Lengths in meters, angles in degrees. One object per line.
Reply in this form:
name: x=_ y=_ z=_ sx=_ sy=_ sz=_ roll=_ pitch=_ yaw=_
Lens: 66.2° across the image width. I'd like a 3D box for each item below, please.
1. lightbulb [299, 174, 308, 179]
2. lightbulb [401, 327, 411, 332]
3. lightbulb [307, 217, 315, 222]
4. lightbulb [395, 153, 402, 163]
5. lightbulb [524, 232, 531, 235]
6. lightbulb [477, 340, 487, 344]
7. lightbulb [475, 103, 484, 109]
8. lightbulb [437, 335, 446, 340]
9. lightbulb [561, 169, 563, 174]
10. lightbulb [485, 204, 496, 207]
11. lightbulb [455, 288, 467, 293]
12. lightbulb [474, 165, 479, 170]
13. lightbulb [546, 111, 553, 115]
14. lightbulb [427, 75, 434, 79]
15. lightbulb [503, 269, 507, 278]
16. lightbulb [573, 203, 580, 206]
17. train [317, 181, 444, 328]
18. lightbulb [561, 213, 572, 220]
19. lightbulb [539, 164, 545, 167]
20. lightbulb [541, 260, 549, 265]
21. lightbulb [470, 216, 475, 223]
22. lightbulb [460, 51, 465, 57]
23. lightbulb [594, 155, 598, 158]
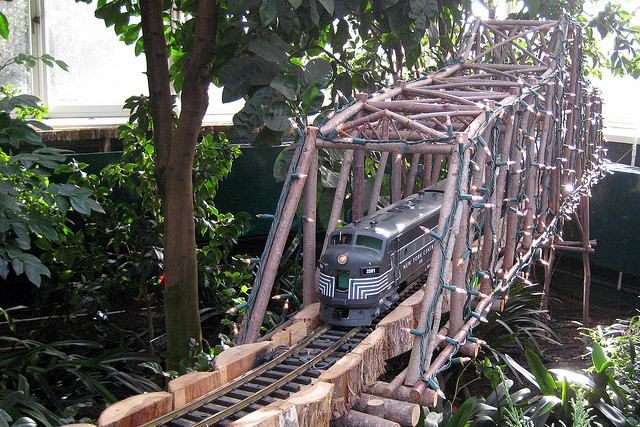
lightbulb: x=-0.179 y=-0.402 z=5.427 sx=0.054 sy=0.053 sz=0.132 roll=7 pitch=5 yaw=24
lightbulb: x=0.897 y=1.213 z=5.098 sx=0.073 sy=0.033 sz=0.095 roll=0 pitch=2 yaw=-3
lightbulb: x=-0.107 y=0.075 z=5.604 sx=0.074 sy=0.023 sz=0.023 roll=15 pitch=-4 yaw=-26
lightbulb: x=0.896 y=-0.638 z=5.619 sx=0.033 sy=0.035 sz=0.191 roll=1 pitch=27 yaw=23
lightbulb: x=2.670 y=0.261 z=6.341 sx=0.167 sy=0.030 sz=0.035 roll=1 pitch=6 yaw=-45
lightbulb: x=1.747 y=1.408 z=5.370 sx=0.048 sy=0.021 sz=0.069 roll=-1 pitch=0 yaw=-5
lightbulb: x=1.789 y=-1.208 z=5.521 sx=0.118 sy=0.043 sz=0.138 roll=9 pitch=26 yaw=20
lightbulb: x=1.271 y=1.301 z=5.161 sx=0.105 sy=0.053 sz=0.028 roll=2 pitch=6 yaw=-33
lightbulb: x=3.734 y=-0.640 z=7.587 sx=0.020 sy=0.057 sz=0.245 roll=7 pitch=5 yaw=27
lightbulb: x=1.791 y=-0.081 z=5.185 sx=0.180 sy=0.036 sz=0.035 roll=5 pitch=7 yaw=-41
lightbulb: x=1.482 y=0.818 z=5.186 sx=0.095 sy=0.067 sz=0.127 roll=6 pitch=5 yaw=15
lightbulb: x=1.660 y=-0.488 z=5.213 sx=0.045 sy=0.046 sz=0.152 roll=7 pitch=5 yaw=19
lightbulb: x=2.915 y=-1.272 z=6.256 sx=0.064 sy=0.024 sz=0.069 roll=7 pitch=5 yaw=25
lightbulb: x=1.519 y=-1.887 z=6.789 sx=0.068 sy=0.044 sz=0.025 roll=4 pitch=5 yaw=-12
lightbulb: x=2.257 y=0.737 z=5.981 sx=0.034 sy=0.079 sz=0.109 roll=7 pitch=5 yaw=20
lightbulb: x=4.275 y=-0.142 z=8.222 sx=0.064 sy=0.022 sz=0.062 roll=-11 pitch=10 yaw=-12
train: x=0.674 y=0.600 z=5.983 sx=0.751 sy=0.910 sz=2.942 roll=4 pitch=20 yaw=24
lightbulb: x=3.916 y=0.046 z=7.828 sx=0.103 sy=0.089 sz=0.445 roll=8 pitch=5 yaw=31
lightbulb: x=2.759 y=-0.590 z=6.111 sx=0.045 sy=0.038 sz=0.130 roll=8 pitch=6 yaw=36
lightbulb: x=3.016 y=0.661 z=6.599 sx=0.074 sy=0.061 sz=0.301 roll=7 pitch=5 yaw=21
lightbulb: x=1.642 y=0.069 z=5.294 sx=0.081 sy=0.067 sz=0.040 roll=1 pitch=6 yaw=-36
lightbulb: x=2.106 y=-2.348 z=7.282 sx=0.060 sy=0.060 sz=0.027 roll=6 pitch=6 yaw=18
lightbulb: x=4.973 y=-1.021 z=8.844 sx=0.058 sy=0.021 sz=0.089 roll=-3 pitch=18 yaw=16
